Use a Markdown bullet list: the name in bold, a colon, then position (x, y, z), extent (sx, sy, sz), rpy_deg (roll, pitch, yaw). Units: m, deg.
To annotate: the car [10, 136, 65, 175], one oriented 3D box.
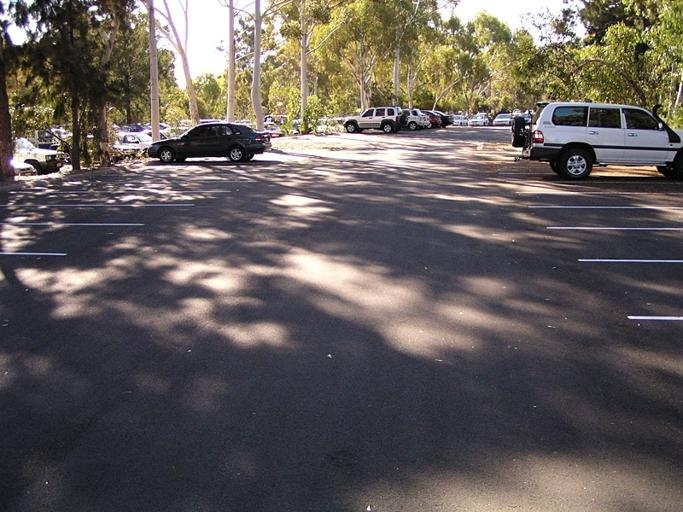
- **car**: position (-14.417, -4.701, 25.740), extent (2.139, 1.135, 1.227), rpy_deg (3, 15, 4)
